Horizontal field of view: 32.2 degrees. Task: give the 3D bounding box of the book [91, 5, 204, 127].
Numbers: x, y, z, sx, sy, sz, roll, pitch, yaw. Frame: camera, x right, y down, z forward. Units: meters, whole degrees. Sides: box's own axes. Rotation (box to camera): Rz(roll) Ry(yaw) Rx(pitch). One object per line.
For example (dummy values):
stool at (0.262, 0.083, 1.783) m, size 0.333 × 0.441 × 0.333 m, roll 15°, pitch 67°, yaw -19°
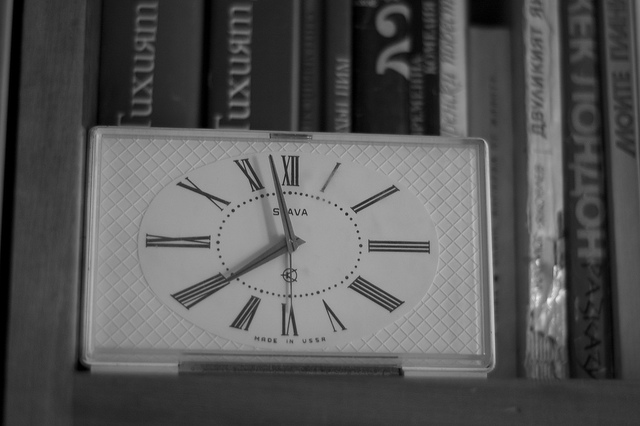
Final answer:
book at (-0.417, -0.351, 2.832) m, size 0.266 × 0.348 × 0.469 m, roll 1°, pitch -89°, yaw -4°
